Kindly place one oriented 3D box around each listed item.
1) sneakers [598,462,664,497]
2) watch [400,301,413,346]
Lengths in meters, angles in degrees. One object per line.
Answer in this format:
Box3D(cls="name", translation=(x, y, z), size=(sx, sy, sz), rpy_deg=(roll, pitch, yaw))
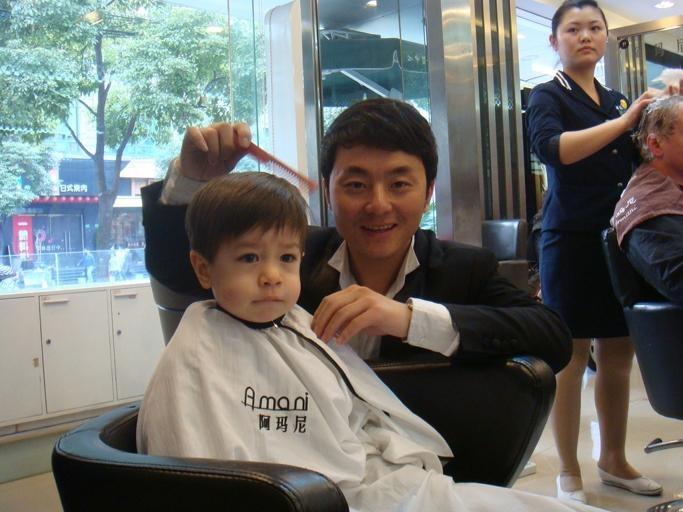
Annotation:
Box3D(cls="sneakers", translation=(1.230, 0.947, 2.482), size=(0.198, 0.086, 0.082), rpy_deg=(-3, -4, 30))
Box3D(cls="watch", translation=(0.182, 0.181, 1.631), size=(0.032, 0.092, 0.064), rpy_deg=(-1, -2, -14))
